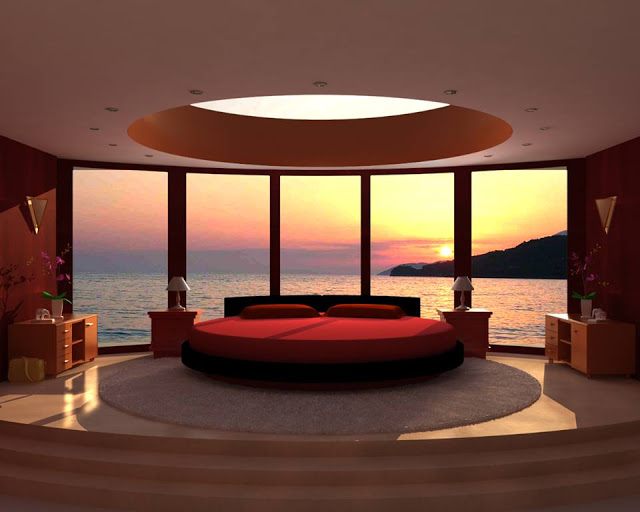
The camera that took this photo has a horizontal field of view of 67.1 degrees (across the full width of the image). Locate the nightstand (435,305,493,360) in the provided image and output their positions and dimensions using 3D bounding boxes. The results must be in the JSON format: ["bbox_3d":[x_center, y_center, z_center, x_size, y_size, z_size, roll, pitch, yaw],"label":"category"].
[{"bbox_3d":[2.194,1.146,7.301,0.739,0.703,0.741,0,-3,1],"label":"nightstand"}]

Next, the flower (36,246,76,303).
[{"bbox_3d":[-3.886,0.313,7.124,0.409,0.910,1.124,-2,5,-27],"label":"flower"}]

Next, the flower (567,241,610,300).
[{"bbox_3d":[3.908,0.244,7.070,0.393,0.938,0.927,1,5,16],"label":"flower"}]

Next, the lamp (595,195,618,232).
[{"bbox_3d":[3.976,-0.569,6.748,0.153,0.519,0.413,1,4,7],"label":"lamp"}]

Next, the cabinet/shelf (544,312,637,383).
[{"bbox_3d":[3.581,1.199,6.516,0.644,0.782,1.043,-1,5,-18],"label":"cabinet/shelf"}]

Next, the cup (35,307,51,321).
[{"bbox_3d":[-3.709,0.772,6.426,0.229,0.191,0.170,-2,-3,21],"label":"cup"}]

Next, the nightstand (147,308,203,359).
[{"bbox_3d":[-2.185,1.192,7.469,0.755,0.726,0.754,0,-1,-2],"label":"nightstand"}]

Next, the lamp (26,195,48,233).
[{"bbox_3d":[-3.974,-0.567,6.775,0.154,0.531,0.379,-1,5,-12],"label":"lamp"}]

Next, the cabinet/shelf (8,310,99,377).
[{"bbox_3d":[-3.601,0.976,6.488,0.611,0.680,1.130,0,0,-1],"label":"cabinet/shelf"}]
